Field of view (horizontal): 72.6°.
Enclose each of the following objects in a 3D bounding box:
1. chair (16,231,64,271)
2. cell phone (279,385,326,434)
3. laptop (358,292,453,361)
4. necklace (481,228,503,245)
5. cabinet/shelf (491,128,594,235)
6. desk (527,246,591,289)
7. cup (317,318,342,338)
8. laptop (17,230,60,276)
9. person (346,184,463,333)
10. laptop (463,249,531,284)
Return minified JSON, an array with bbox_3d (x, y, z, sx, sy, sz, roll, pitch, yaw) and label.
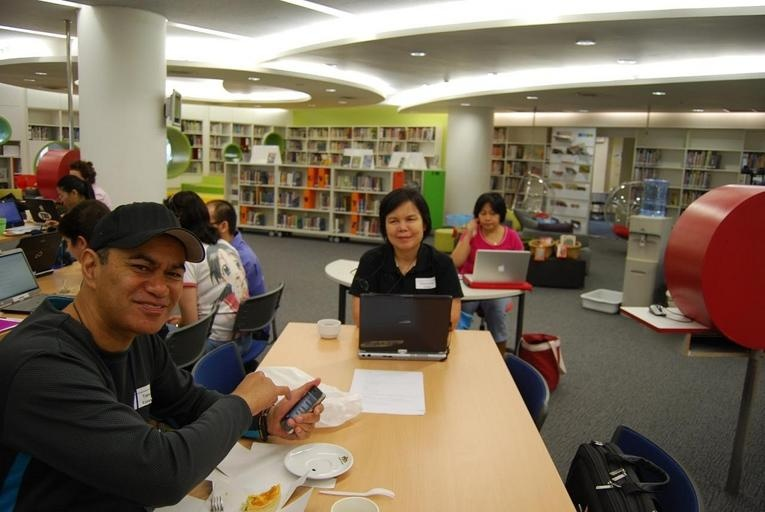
[{"bbox_3d":[-2.843,-0.027,4.373,0.241,0.308,0.319,28,14,19],"label":"chair"},{"bbox_3d":[-0.340,0.669,2.268,0.113,0.219,0.059,46,-10,20],"label":"cell phone"},{"bbox_3d":[0.118,0.405,2.958,0.502,0.414,0.366,1,17,1],"label":"laptop"},{"bbox_3d":[1.078,-0.186,5.034,0.161,0.165,0.063,-5,-4,6],"label":"necklace"},{"bbox_3d":[4.050,-1.899,12.851,3.064,3.071,1.000,14,18,37],"label":"cabinet/shelf"},{"bbox_3d":[2.777,0.165,8.268,0.619,0.409,0.642,1,7,12],"label":"desk"},{"bbox_3d":[-0.341,0.451,3.277,0.116,0.073,0.117,-3,9,0],"label":"cup"},{"bbox_3d":[-2.834,-0.007,4.334,0.255,0.317,0.328,32,13,15],"label":"laptop"},{"bbox_3d":[0.187,0.223,3.768,0.746,1.369,0.463,0,8,1],"label":"person"},{"bbox_3d":[1.039,0.094,4.555,0.436,0.274,0.307,0,9,-6],"label":"laptop"}]
